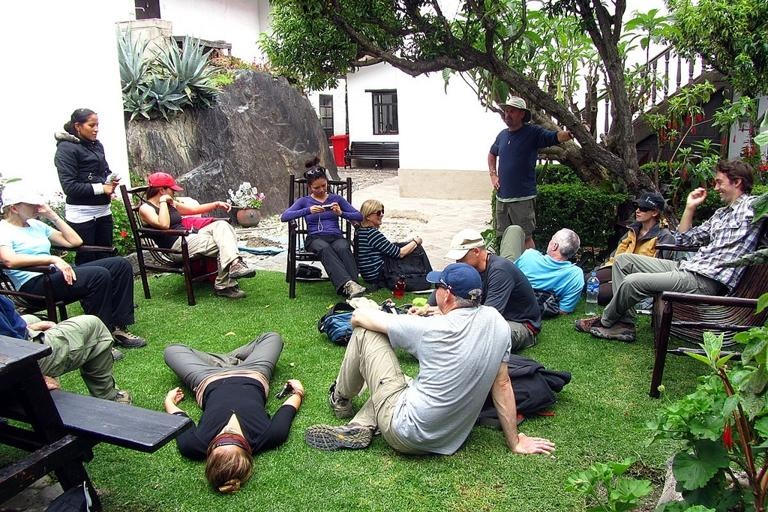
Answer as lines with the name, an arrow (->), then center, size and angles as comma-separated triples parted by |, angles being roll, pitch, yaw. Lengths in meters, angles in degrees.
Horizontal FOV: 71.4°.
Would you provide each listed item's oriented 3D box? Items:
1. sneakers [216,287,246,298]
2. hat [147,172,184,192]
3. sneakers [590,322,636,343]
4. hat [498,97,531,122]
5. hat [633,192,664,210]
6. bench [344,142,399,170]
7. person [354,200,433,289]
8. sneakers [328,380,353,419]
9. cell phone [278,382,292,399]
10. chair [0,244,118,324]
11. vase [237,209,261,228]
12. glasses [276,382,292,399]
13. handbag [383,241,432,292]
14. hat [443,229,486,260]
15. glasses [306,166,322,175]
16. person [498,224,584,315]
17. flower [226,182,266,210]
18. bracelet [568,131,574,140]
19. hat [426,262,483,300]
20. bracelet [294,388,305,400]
sneakers -> -1.856, 0.435, 6.585 | 0.370, 0.151, 0.143 | -1, 4, 5
hat -> -2.592, -0.889, 6.593 | 0.533, 0.249, 0.338 | -2, 11, -37
sneakers -> 2.294, 0.751, 5.389 | 0.438, 0.209, 0.173 | 6, -3, 23
hat -> 1.651, -1.823, 6.617 | 0.216, 0.310, 0.474 | 3, 14, 24
hat -> 2.905, -0.605, 5.875 | 0.265, 0.129, 0.180 | 1, 7, -2
bench -> -0.385, -3.681, 19.355 | 2.074, 1.000, 1.175 | 1, 13, 15
person -> 0.208, -0.173, 7.004 | 1.233, 1.207, 0.819 | -4, 16, -16
sneakers -> -0.339, 1.163, 4.300 | 0.126, 0.156, 0.342 | 0, 16, -6
cell phone -> -0.828, 1.134, 4.507 | 0.141, 0.133, 0.059 | 10, -21, -32
chair -> -2.961, 0.288, 5.175 | 0.863, 0.838, 0.621 | -4, 14, -15
vase -> -2.535, -0.717, 10.066 | 0.365, 0.270, 0.379 | 4, 13, 9
glasses -> -0.828, 1.133, 4.505 | 0.062, 0.137, 0.144 | -6, -15, 45
handbag -> 0.316, 0.180, 6.657 | 0.674, 0.623, 0.466 | 1, 4, 0
hat -> 0.714, -0.097, 4.716 | 0.359, 0.202, 0.233 | -24, 13, -13
glasses -> -0.842, -1.031, 6.508 | 0.210, 0.093, 0.137 | -4, 13, -7
person -> 1.876, 0.098, 5.831 | 0.678, 0.731, 1.331 | 4, 20, -9
flower -> -2.603, -1.114, 10.162 | 0.600, 0.384, 0.585 | 10, 16, -1
bracelet -> 2.285, -1.486, 6.561 | 0.049, 0.130, 0.098 | -34, 18, 33
hat -> 0.477, 0.164, 3.727 | 0.350, 0.166, 0.243 | 19, 19, 36
bracelet -> -0.675, 1.136, 4.396 | 0.069, 0.083, 0.081 | -5, 27, 19
